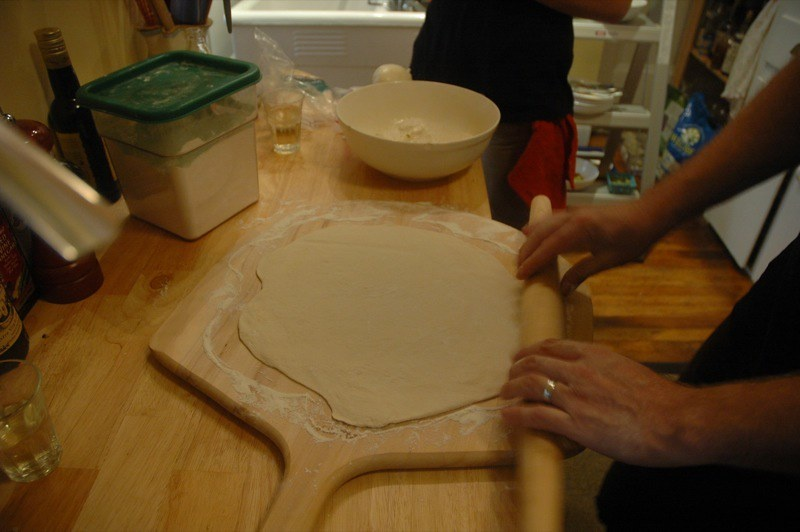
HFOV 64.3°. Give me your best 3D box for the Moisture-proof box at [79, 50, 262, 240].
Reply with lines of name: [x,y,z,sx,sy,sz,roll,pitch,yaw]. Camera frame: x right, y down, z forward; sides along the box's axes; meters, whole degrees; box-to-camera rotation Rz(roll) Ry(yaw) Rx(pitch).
Moisture-proof box: [-0.667,-0.361,1.930,0.470,0.423,0.419,15,36,27]

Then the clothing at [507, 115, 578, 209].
clothing: [0.577,-0.395,2.507,0.272,0.387,0.115,4,43,0]

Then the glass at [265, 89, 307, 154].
glass: [-0.375,-0.507,2.287,0.183,0.251,0.197,-3,34,-6]

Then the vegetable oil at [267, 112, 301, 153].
vegetable oil: [-0.411,-0.474,2.231,0.113,0.146,0.119,0,10,12]
